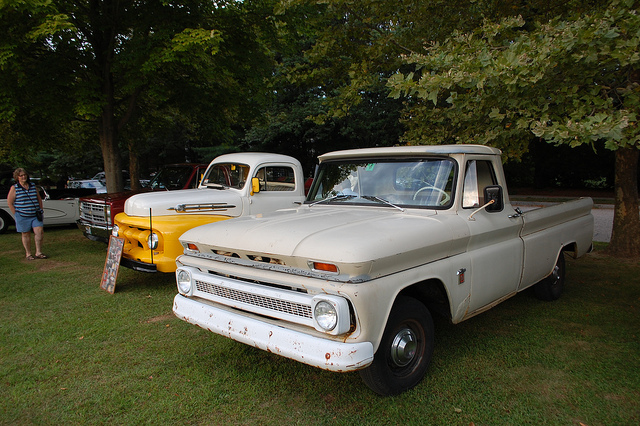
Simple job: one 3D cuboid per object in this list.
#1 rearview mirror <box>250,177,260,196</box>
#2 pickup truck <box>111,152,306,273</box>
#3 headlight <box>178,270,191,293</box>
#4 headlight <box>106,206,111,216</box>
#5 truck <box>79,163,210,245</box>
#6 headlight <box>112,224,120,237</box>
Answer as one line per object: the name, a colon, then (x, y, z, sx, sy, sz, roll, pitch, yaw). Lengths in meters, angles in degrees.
rearview mirror: (-1.452, -0.578, 8.458, 0.147, 0.468, 0.280, -5, -19, 16)
pickup truck: (-2.216, -0.082, 8.944, 4.330, 2.099, 2.437, -1, 3, -38)
headlight: (-1.860, 0.946, 5.250, 0.205, 0.272, 0.062, -12, -7, 33)
headlight: (-5.249, -0.036, 9.541, 0.047, 0.233, 0.221, -8, 10, -43)
truck: (-4.644, -0.360, 11.385, 3.946, 1.824, 2.203, -4, 6, -44)
headlight: (-4.300, 0.365, 8.076, 0.162, 0.235, 0.078, 4, -6, 25)
